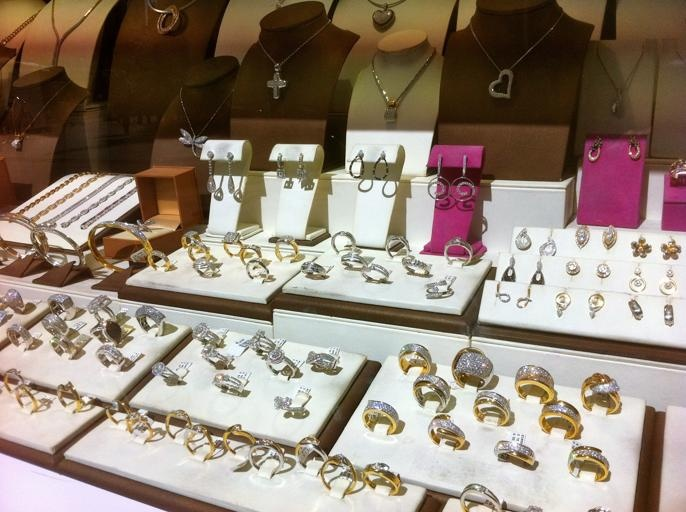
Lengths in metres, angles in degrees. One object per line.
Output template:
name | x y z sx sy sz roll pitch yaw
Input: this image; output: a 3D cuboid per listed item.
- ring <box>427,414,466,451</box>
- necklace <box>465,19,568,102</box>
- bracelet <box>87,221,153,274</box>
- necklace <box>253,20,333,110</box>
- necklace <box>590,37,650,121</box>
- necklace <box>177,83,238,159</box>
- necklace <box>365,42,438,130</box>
ring | 0.294 0.502 1.304 0.096 0.036 0.084 40 -26 -21
necklace | 0.867 -0.949 2.250 0.324 0.382 0.027 3 18 12
bracelet | -1.077 -0.075 2.228 0.314 0.303 0.074 35 44 -2
necklace | -0.288 -1.131 2.654 0.423 0.480 0.216 2 10 -5
necklace | 1.322 -0.858 2.234 0.220 0.350 0.064 8 11 27
necklace | -0.867 -0.826 2.738 0.076 0.470 0.394 30 18 27
necklace | 0.308 -0.967 2.552 0.325 0.483 0.185 9 3 21
